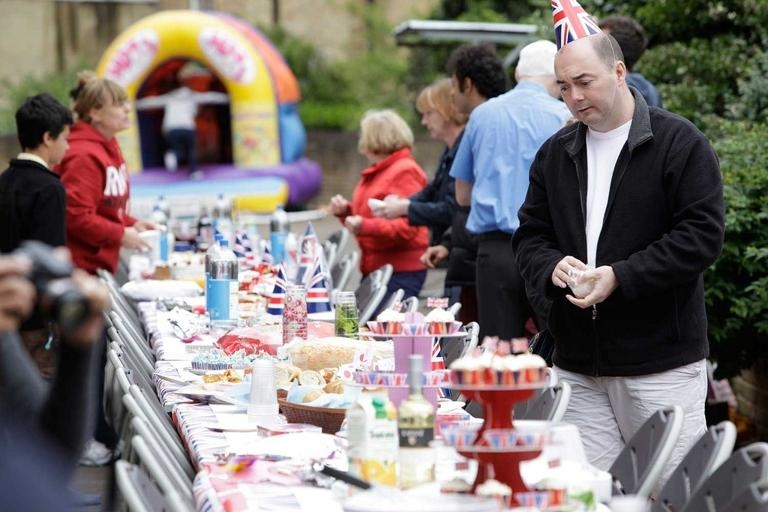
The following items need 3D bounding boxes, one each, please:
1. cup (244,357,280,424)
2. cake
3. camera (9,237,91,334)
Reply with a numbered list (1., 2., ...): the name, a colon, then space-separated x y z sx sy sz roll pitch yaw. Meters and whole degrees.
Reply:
1. cup: -0.470 0.531 3.736 0.121 0.229 0.242 -1 9 -9
2. cake: 0.344 0.497 2.931 0.301 0.470 0.321 -5 10 -30
3. camera: -0.935 0.054 2.695 0.242 0.146 0.231 42 6 41
